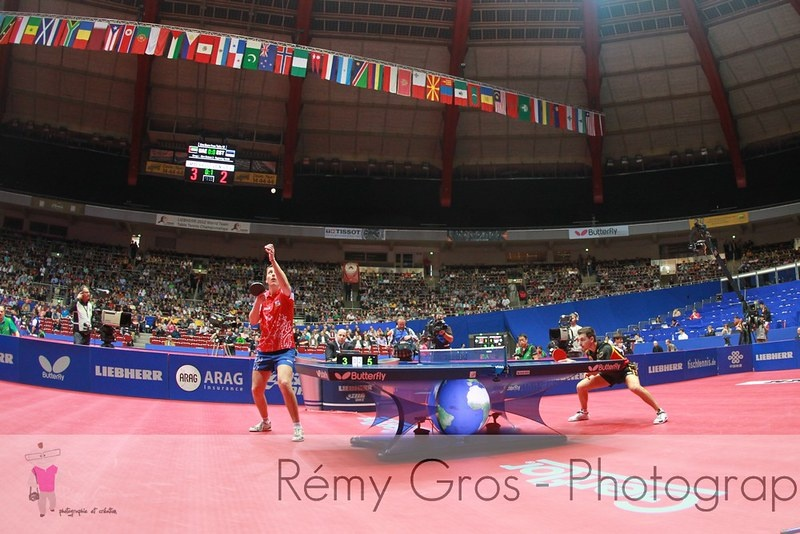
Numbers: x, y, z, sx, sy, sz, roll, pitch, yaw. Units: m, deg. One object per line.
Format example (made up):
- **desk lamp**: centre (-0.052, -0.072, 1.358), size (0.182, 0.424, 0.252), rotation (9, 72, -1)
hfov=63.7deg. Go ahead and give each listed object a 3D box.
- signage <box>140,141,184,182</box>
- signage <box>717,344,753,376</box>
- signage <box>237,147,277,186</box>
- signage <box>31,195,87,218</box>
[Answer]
- **signage**: centre (-14.678, -6.216, 40.486), size (2.991, 2.228, 1.646), rotation (6, -19, -13)
- **signage**: centre (12.819, 3.587, 24.603), size (1.020, 0.782, 0.070), rotation (1, -11, -8)
- **signage**: centre (-9.262, -6.464, 41.287), size (2.199, 2.003, 0.781), rotation (2, -10, -13)
- **signage**: centre (-20.654, -3.732, 38.817), size (2.897, 0.918, 0.348), rotation (2, -12, -23)
